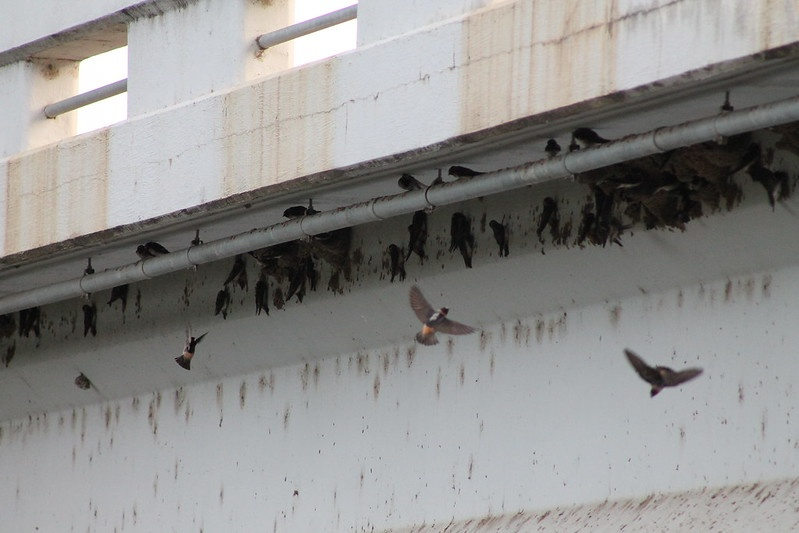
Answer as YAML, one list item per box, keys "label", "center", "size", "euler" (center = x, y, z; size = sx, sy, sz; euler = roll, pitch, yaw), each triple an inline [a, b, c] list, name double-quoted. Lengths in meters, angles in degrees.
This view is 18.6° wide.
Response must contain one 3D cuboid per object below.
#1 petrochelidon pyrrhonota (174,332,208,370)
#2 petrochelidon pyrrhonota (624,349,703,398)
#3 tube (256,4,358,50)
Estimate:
- label: "petrochelidon pyrrhonota"
  center: [-1.602, 0.651, 18.620]
  size: [0.200, 0.250, 0.342]
  euler: [-2, -8, -12]
- label: "petrochelidon pyrrhonota"
  center: [1.793, 0.790, 17.075]
  size: [0.619, 0.265, 0.165]
  euler: [18, -15, 32]
- label: "tube"
  center: [-0.645, -1.703, 17.310]
  size: [0.804, 0.260, 0.223]
  euler: [-20, -5, 30]
